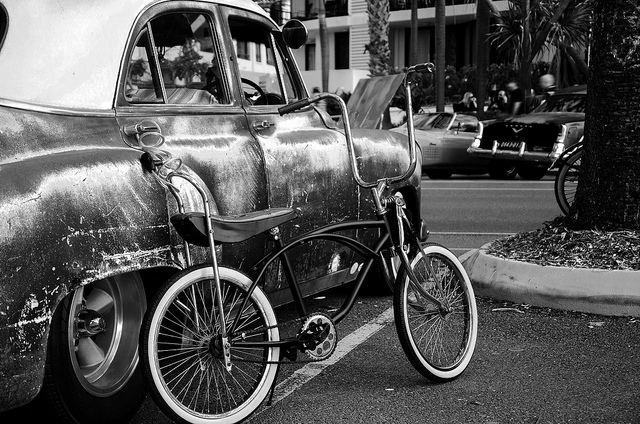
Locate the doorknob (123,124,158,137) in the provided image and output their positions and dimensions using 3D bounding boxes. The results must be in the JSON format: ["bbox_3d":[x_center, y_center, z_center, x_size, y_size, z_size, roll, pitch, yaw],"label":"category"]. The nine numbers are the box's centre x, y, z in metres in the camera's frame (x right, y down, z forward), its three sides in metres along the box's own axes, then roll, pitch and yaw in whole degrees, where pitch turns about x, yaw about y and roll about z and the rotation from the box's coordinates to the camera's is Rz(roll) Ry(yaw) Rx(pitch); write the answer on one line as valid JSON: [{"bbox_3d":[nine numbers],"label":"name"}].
[{"bbox_3d":[-1.185,-0.531,3.961,0.217,0.081,0.058,-5,10,-18],"label":"doorknob"}]

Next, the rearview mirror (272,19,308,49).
[{"bbox_3d":[-0.214,-1.487,5.038,0.194,0.216,0.309,-3,10,-11],"label":"rearview mirror"}]
